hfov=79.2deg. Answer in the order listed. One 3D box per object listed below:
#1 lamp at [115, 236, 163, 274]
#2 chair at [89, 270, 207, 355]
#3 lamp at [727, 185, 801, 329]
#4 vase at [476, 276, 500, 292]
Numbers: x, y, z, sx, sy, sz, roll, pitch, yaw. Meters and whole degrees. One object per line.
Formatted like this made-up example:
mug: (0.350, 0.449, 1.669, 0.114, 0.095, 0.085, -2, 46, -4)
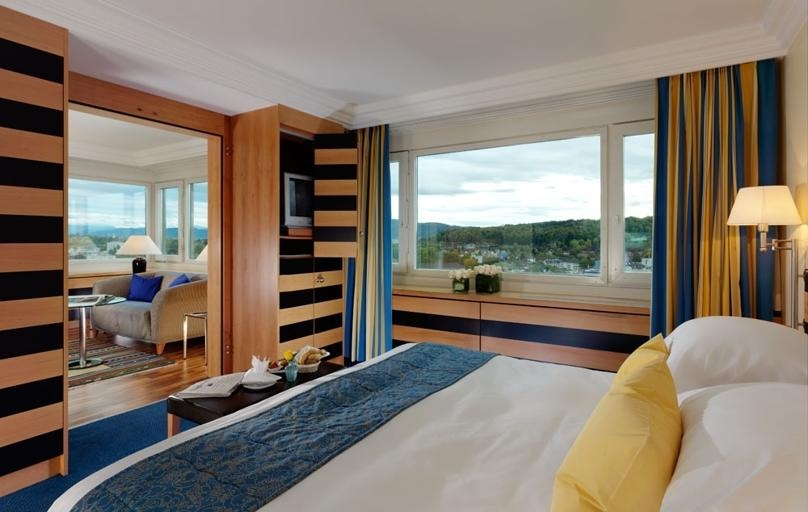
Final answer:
lamp: (-3.966, 0.019, 7.269, 0.671, 0.620, 0.649, -4, -4, 27)
chair: (-3.445, 0.662, 6.517, 1.482, 0.647, 0.820, 5, 9, 26)
lamp: (2.709, 0.000, 3.608, 0.414, 1.047, 0.642, -1, 2, 38)
vase: (0.897, 0.276, 5.177, 0.202, 0.180, 0.205, 0, 0, 41)
